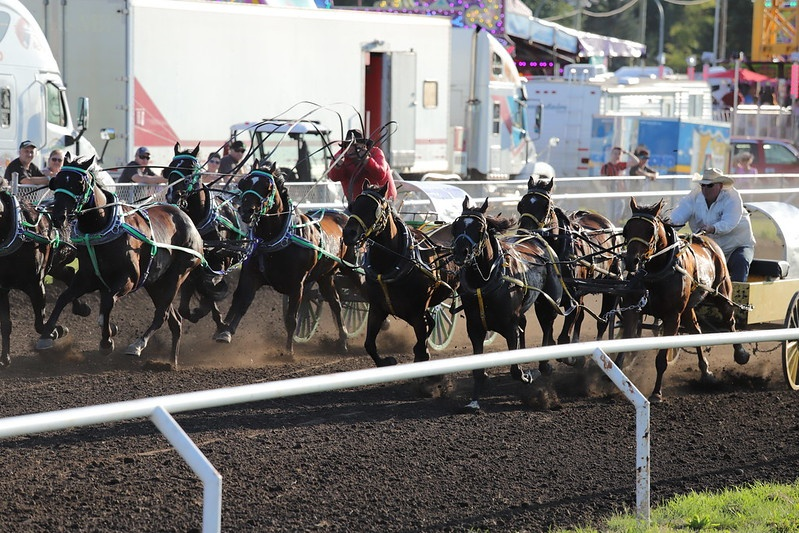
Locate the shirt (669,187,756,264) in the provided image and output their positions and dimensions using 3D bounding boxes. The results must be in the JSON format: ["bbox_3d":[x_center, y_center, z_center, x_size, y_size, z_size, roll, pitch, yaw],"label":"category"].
[{"bbox_3d":[3.952,-0.600,18.962,0.838,0.812,1.108,0,-13,40],"label":"shirt"}]

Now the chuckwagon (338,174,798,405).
[{"bbox_3d":[2.900,0.257,18.172,2.767,2.417,5.111,-3,-4,42],"label":"chuckwagon"}]

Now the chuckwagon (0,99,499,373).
[{"bbox_3d":[-2.501,-0.676,21.477,6.787,2.821,3.558,5,7,27],"label":"chuckwagon"}]

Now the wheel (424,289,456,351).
[{"bbox_3d":[0.472,0.649,18.617,0.137,0.624,0.651,21,37,33],"label":"wheel"}]

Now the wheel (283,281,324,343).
[{"bbox_3d":[-1.303,0.576,19.433,0.574,0.562,0.584,-1,28,0],"label":"wheel"}]

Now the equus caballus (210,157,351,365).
[{"bbox_3d":[-1.494,-0.085,19.016,1.726,2.500,0.883,-2,12,-10],"label":"equus caballus"}]

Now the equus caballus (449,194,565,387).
[{"bbox_3d":[1.688,0.160,17.380,0.996,1.894,2.805,-8,-17,28],"label":"equus caballus"}]

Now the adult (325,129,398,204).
[{"bbox_3d":[-0.518,-1.073,19.250,0.511,1.401,0.700,-14,38,4],"label":"adult"}]

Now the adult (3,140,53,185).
[{"bbox_3d":[-5.369,-1.440,21.005,0.537,0.656,0.840,1,-3,-43],"label":"adult"}]

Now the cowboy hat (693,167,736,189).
[{"bbox_3d":[4.051,-1.156,18.787,0.305,0.107,0.286,10,-14,-39],"label":"cowboy hat"}]

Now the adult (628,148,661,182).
[{"bbox_3d":[4.408,-1.895,26.898,0.534,0.700,0.746,2,2,-38],"label":"adult"}]

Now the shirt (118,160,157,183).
[{"bbox_3d":[-3.904,-1.392,21.716,0.426,0.371,0.259,6,-12,1],"label":"shirt"}]

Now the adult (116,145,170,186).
[{"bbox_3d":[-3.820,-1.439,22.038,0.923,0.582,0.705,-2,-4,41],"label":"adult"}]

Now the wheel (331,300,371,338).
[{"bbox_3d":[-0.635,0.698,19.881,0.121,0.452,0.492,6,-31,16],"label":"wheel"}]
